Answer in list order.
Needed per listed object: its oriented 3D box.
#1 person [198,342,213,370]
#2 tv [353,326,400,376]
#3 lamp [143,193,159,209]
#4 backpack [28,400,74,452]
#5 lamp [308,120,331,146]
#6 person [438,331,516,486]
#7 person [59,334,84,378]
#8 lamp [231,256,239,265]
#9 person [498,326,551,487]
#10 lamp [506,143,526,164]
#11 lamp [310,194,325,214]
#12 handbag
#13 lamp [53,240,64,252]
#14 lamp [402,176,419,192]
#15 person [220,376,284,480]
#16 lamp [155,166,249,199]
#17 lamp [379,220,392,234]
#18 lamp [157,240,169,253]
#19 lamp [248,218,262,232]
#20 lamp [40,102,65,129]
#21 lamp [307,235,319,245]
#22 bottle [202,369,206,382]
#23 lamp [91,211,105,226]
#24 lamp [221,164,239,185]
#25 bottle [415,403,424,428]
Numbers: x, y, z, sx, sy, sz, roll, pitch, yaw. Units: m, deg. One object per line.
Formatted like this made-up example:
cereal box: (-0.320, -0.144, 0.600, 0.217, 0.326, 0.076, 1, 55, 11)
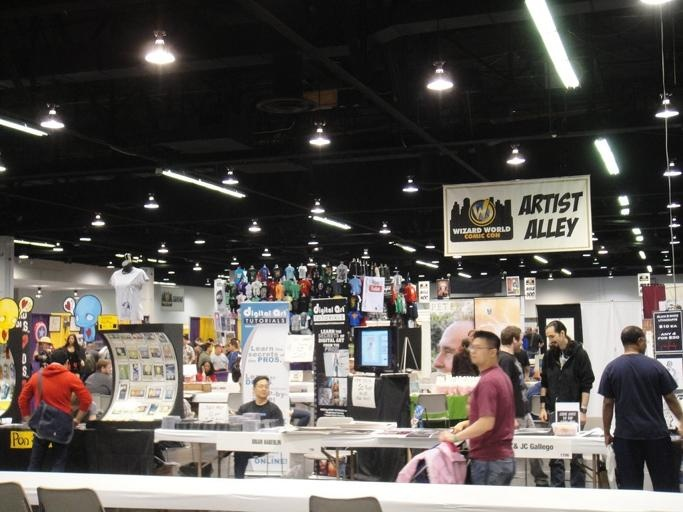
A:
person: (-2.743, 2.053, 15.552, 0.280, 0.852, 0.230, 3, 5, 13)
tv: (0.416, 1.122, 9.128, 0.113, 0.539, 0.661, 5, -8, -43)
lamp: (-3.650, -1.065, 14.895, 0.237, 0.299, 0.251, 2, -1, 36)
backpack: (-3.522, 2.034, 9.345, 0.500, 0.526, 0.283, 2, -6, -20)
lamp: (-0.312, -1.826, 11.440, 0.272, 0.365, 0.299, 0, -4, 10)
person: (1.234, 1.328, 6.714, 0.557, 1.339, 0.390, -1, -6, 7)
person: (-5.074, 2.142, 14.506, 0.399, 1.267, 0.361, 1, 2, -19)
lamp: (-3.431, 0.163, 24.839, 0.247, 0.318, 0.271, 2, -4, 10)
person: (2.128, 1.722, 8.875, 0.466, 1.820, 0.484, -15, -8, 34)
lamp: (2.676, -1.548, 11.836, 0.250, 0.306, 0.268, 1, -4, 30)
lamp: (-0.465, -0.960, 14.826, 0.207, 0.266, 0.227, 1, -4, 8)
handbag: (-3.429, 1.792, 9.251, 0.505, 0.978, 0.125, 13, 9, -10)
lamp: (-7.556, -0.275, 20.525, 0.156, 0.200, 0.169, -2, -6, 24)
lamp: (1.183, -1.260, 13.417, 0.208, 0.261, 0.221, 6, 2, 36)
person: (-0.937, 1.984, 8.827, 0.538, 1.197, 1.475, 1, -7, -8)
lamp: (-2.565, -1.372, 14.435, 1.180, 0.331, 2.800, -1, -7, 5)
lamp: (0.987, -0.672, 17.761, 0.210, 0.271, 0.226, 2, -2, 27)
lamp: (-4.912, -0.246, 21.175, 0.296, 0.380, 0.321, 4, -5, -7)
lamp: (-1.985, -0.715, 17.761, 0.229, 0.282, 0.236, 3, -3, -44)
lamp: (-4.068, -1.943, 10.773, 0.304, 0.381, 0.331, -2, -4, 1)
lamp: (-0.757, -0.420, 20.538, 0.194, 0.244, 0.214, 2, -11, 14)
bottle: (-2.615, 2.301, 14.732, 0.089, 0.179, 0.295, 1, -7, -12)
lamp: (-5.295, -0.794, 16.720, 0.292, 0.241, 0.311, 3, -2, 19)
lamp: (-1.954, -1.424, 13.463, 0.265, 0.334, 0.290, 0, -4, 21)
bottle: (0.938, 1.935, 9.196, 0.127, 0.238, 0.389, -1, -7, 7)
